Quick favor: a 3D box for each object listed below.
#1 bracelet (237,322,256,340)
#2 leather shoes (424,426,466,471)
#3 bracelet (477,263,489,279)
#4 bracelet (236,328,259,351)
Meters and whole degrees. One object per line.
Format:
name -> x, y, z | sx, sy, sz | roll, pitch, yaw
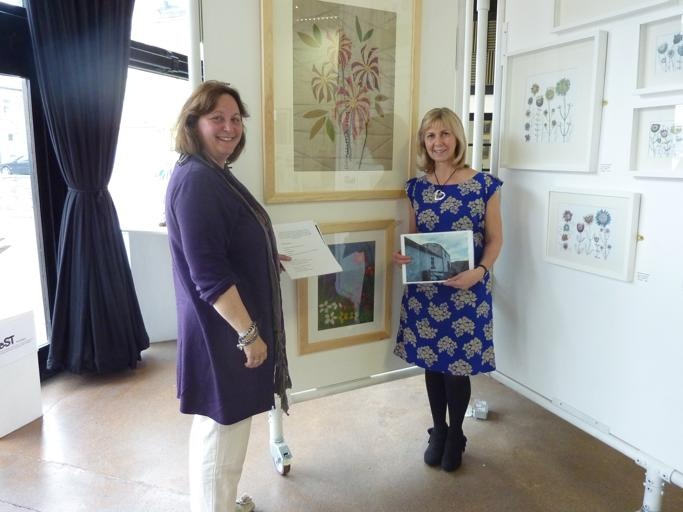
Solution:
bracelet -> -0.402, 0.320, 2.091 | 0.073, 0.039, 0.063 | -19, -19, 32
leather shoes -> 0.609, 1.138, 2.901 | 0.156, 0.106, 0.276 | -2, 2, 16
bracelet -> 0.785, 0.089, 2.738 | 0.032, 0.085, 0.058 | 4, 7, -43
bracelet -> -0.394, 0.346, 2.080 | 0.088, 0.038, 0.075 | -45, 39, -15
